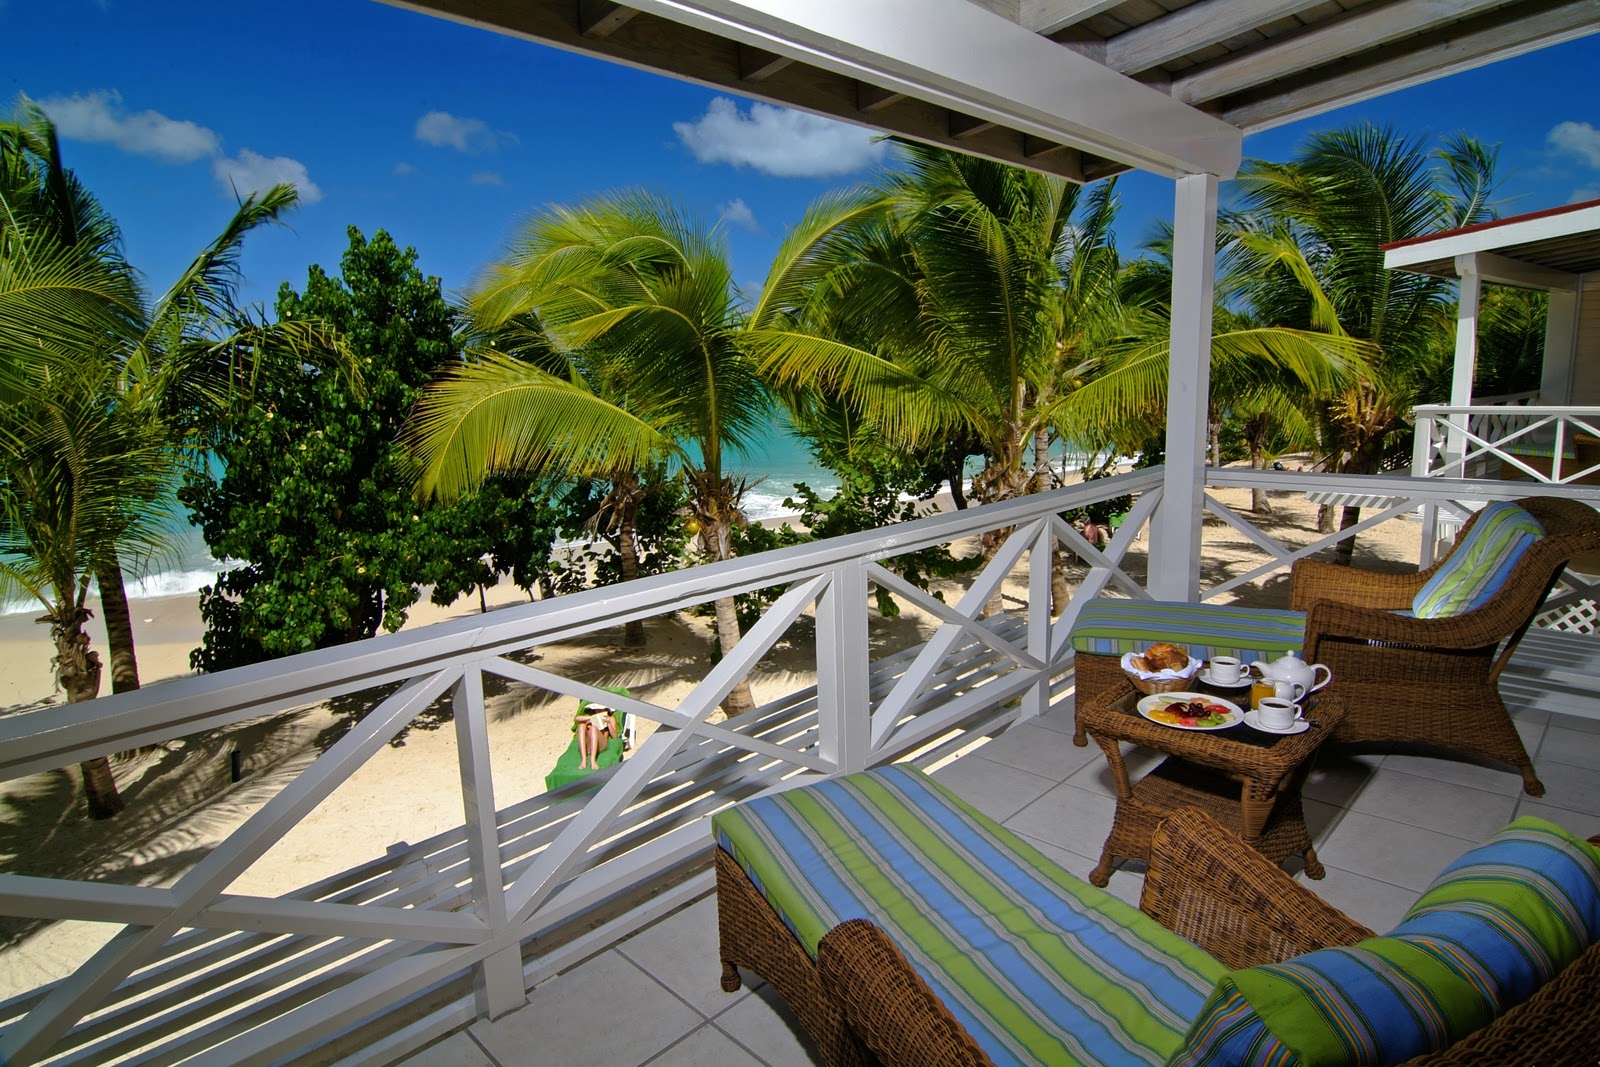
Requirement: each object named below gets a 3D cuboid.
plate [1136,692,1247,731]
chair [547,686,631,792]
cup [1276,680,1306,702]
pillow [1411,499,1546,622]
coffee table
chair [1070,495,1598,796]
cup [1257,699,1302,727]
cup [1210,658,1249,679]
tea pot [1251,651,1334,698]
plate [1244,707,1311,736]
[{"bbox_3d":[1.485,0.698,3.677,0.296,0.141,0.299,-13,1,-33],"label":"plate"},{"bbox_3d":[-2.262,2.116,9.994,0.788,0.902,1.809,-15,1,-10],"label":"chair"},{"bbox_3d":[1.898,0.617,3.740,0.068,0.096,0.105,-5,-10,-24],"label":"cup"},{"bbox_3d":[2.966,0.163,4.207,0.172,0.580,0.378,20,22,-49],"label":"pillow"},{"bbox_3d":[1.430,0.951,3.689,0.911,0.622,0.874,-14,19,-40],"label":"coffee table"},{"bbox_3d":[2.611,0.454,4.686,2.533,1.198,1.305,1,7,18],"label":"chair"},{"bbox_3d":[1.808,0.672,3.598,0.088,0.069,0.109,-6,10,-39],"label":"cup"},{"bbox_3d":[1.759,0.555,3.931,0.116,0.069,0.087,4,8,38],"label":"cup"},{"bbox_3d":[1.960,0.567,3.826,0.291,0.174,0.194,-5,3,25],"label":"tea pot"},{"bbox_3d":[1.797,0.699,3.614,0.148,0.049,0.139,1,5,13],"label":"plate"}]
